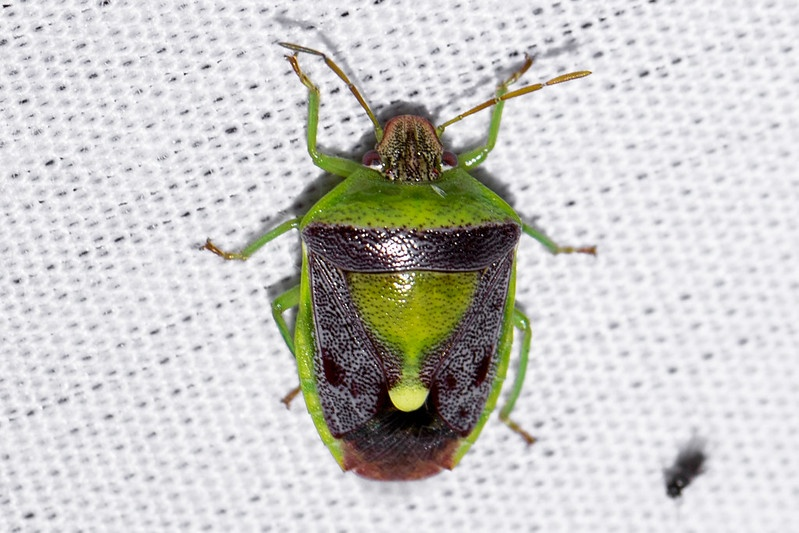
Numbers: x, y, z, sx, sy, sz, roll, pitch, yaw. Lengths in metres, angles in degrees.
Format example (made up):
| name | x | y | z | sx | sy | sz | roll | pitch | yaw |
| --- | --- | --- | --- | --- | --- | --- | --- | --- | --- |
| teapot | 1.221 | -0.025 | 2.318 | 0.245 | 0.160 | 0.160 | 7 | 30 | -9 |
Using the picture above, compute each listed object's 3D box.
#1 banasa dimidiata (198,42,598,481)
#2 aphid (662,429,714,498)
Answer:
| name | x | y | z | sx | sy | sz | roll | pitch | yaw |
| --- | --- | --- | --- | --- | --- | --- | --- | --- | --- |
| banasa dimidiata | -0.042 | -0.082 | 3.937 | 1.869 | 0.438 | 1.607 | 1 | 95 | 1 |
| aphid | 1.161 | 0.806 | 4.054 | 0.088 | 0.169 | 0.273 | 39 | 71 | -28 |
